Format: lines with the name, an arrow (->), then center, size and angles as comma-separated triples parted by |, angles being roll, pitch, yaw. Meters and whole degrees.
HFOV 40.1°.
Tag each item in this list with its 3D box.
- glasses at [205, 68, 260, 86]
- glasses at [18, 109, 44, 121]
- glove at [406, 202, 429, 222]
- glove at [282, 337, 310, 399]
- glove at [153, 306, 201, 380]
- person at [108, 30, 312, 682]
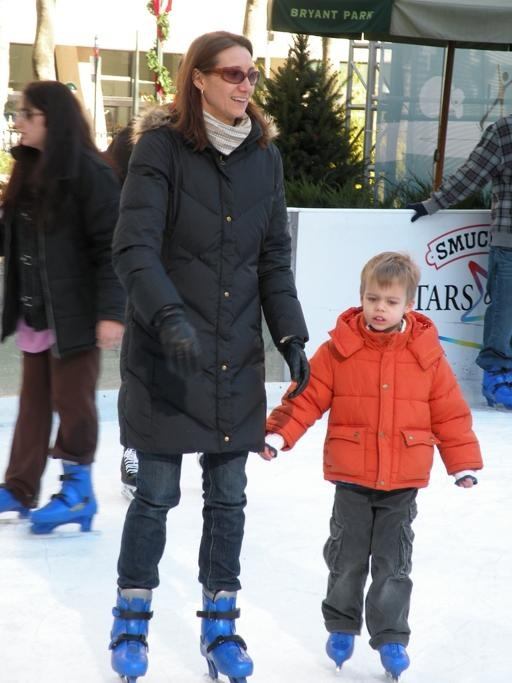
glasses -> -0.044, -0.643, 1.699 | 0.072, 0.022, 0.072 | -1, 5, -36
glasses -> -0.858, -0.871, 2.685 | 0.090, 0.043, 0.012 | 3, 5, 5
glove -> 1.296, -1.037, 5.649 | 0.050, 0.078, 0.149 | -12, -11, -28
glove -> 0.105, 0.066, 1.837 | 0.087, 0.142, 0.040 | -8, -12, 14
glove -> -0.159, 0.003, 1.455 | 0.093, 0.142, 0.043 | -18, -6, 7
person -> -0.091, 0.045, 1.721 | 0.525, 1.647, 0.504 | 2, 5, -17
